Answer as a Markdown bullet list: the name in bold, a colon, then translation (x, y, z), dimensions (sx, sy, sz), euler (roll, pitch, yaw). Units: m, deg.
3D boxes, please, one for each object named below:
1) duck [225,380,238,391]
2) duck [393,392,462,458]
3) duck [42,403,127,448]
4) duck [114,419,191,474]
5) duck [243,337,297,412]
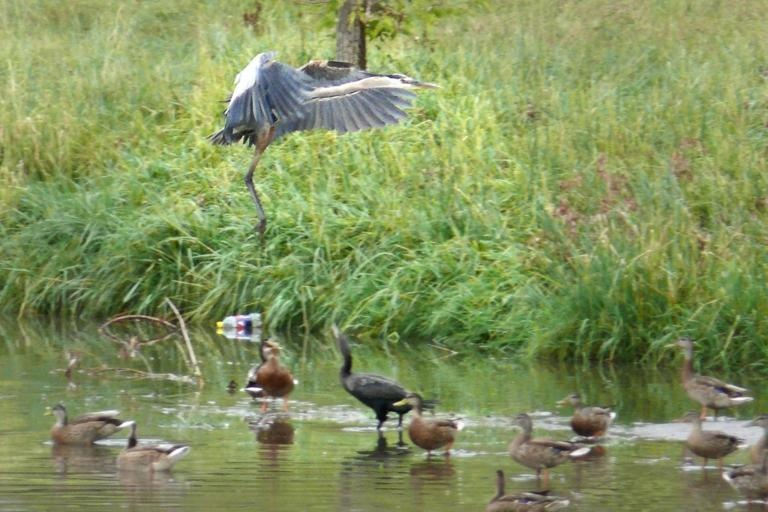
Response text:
- **duck**: translation (-1.805, 1.532, 13.715), dimensions (0.104, 0.120, 0.054), euler (3, -15, -2)
- **duck**: translation (0.425, 1.744, 12.047), dimensions (0.742, 0.596, 0.414), euler (5, 6, 40)
- **duck**: translation (-3.083, 1.817, 12.382), dimensions (0.703, 0.450, 0.980), euler (1, -4, -1)
- **duck**: translation (-2.290, 1.930, 11.655), dimensions (0.925, 0.529, 0.460), euler (-15, -8, 29)
- **duck**: translation (-1.295, 1.349, 13.323), dimensions (0.455, 0.711, 0.754), euler (-2, 5, -31)
